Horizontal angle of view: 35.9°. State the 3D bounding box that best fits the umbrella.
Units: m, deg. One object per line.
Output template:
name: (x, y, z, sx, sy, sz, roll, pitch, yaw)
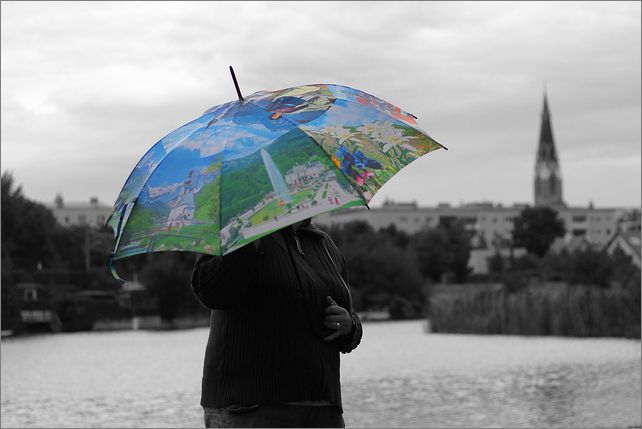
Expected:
umbrella: (-0.552, -0.482, 9.279, 2.893, 1.762, 0.823, -2, -1, -4)
